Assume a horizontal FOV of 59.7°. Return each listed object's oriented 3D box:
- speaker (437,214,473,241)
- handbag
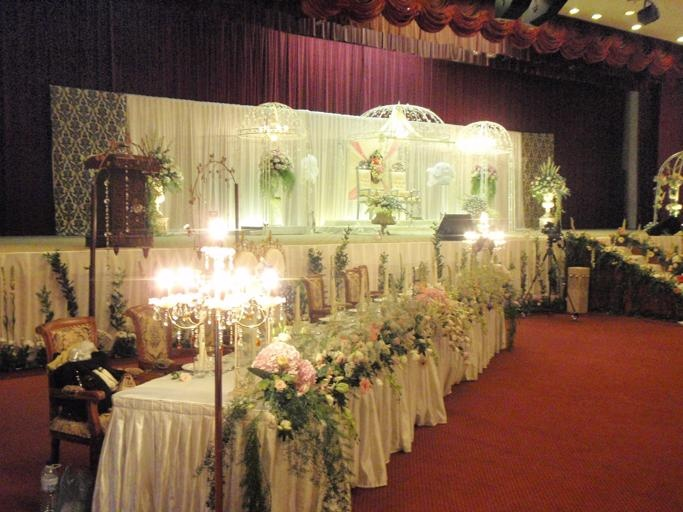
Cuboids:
[{"bbox_3d":[2.102,-0.518,11.099,0.482,0.363,0.534,-1,2,0],"label":"speaker"},{"bbox_3d":[-2.035,1.026,5.020,0.504,0.714,0.466,0,4,21],"label":"handbag"}]
